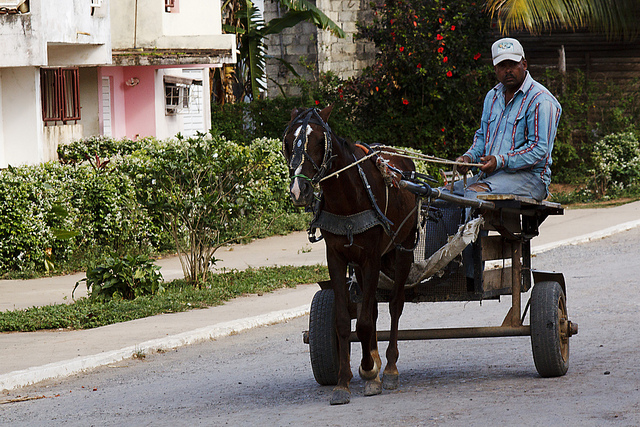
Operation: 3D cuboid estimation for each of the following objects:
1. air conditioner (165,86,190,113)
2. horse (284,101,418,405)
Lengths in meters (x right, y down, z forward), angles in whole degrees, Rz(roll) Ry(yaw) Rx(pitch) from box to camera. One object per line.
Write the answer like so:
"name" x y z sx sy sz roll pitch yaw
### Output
"air conditioner" -3.992 -3.348 33.539 0.509 0.776 0.627 5 7 17
"horse" 0.591 0.570 18.415 2.290 4.506 1.186 -10 15 -30
